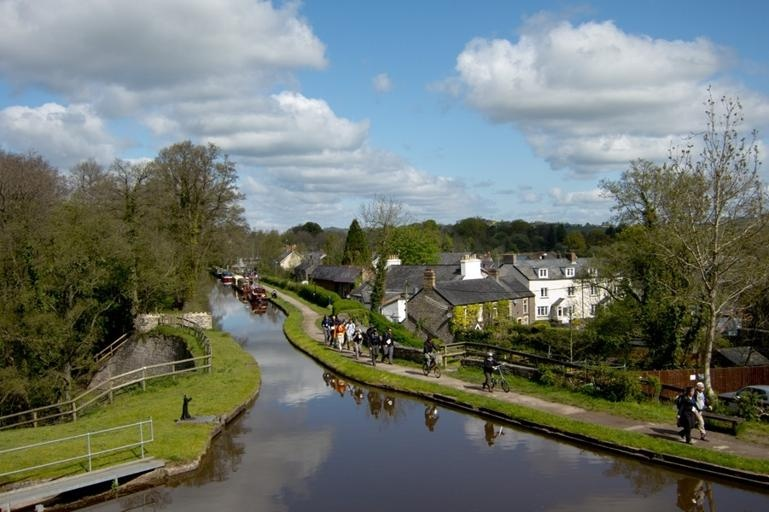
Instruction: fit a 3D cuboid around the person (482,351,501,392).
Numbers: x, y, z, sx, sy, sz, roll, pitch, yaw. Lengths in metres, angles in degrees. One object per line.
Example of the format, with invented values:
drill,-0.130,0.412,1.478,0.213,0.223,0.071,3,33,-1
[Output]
person,6.385,6.822,42.452,0.881,2.225,1.395,5,12,29
